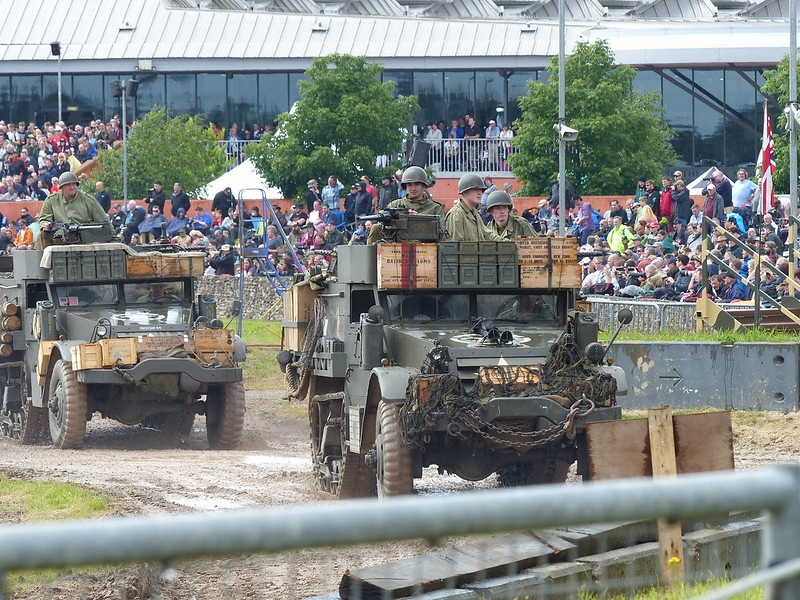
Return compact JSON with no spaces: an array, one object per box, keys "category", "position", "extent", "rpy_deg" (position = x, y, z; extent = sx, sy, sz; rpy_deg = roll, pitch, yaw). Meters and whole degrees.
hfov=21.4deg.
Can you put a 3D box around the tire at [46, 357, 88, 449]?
[{"category":"tire","position":[-7.752,2.395,49.257],"extent":[0.525,2.049,1.103],"rpy_deg":[-2,2,-42]}]

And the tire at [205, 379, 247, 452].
[{"category":"tire","position":[-4.079,2.787,50.526],"extent":[0.408,1.802,1.579],"rpy_deg":[5,-5,-12]}]

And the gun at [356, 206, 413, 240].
[{"category":"gun","position":[-0.321,-1.664,45.206],"extent":[1.582,0.803,0.459],"rpy_deg":[-2,-1,28]}]
